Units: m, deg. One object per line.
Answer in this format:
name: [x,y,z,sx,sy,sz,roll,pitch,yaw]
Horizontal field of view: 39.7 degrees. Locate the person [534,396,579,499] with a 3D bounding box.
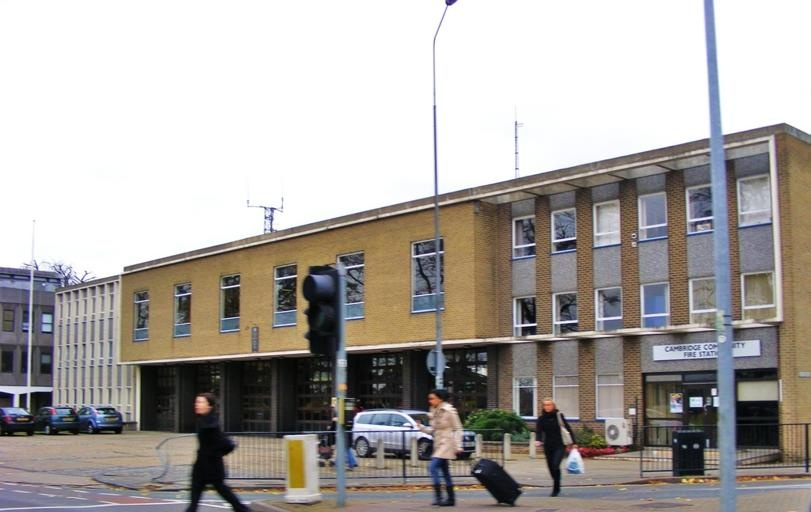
person: [4.741,5.876,35.002,1.262,2.567,1.623,-3,-7,29]

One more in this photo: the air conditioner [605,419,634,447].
air conditioner: [8.960,7.377,47.333,1.085,1.198,0.523,-5,-17,3]

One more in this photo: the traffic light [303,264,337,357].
traffic light: [-2.292,1.472,30.816,1.207,2.196,0.743,0,2,1]

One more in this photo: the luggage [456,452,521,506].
luggage: [2.569,6.379,31.797,1.285,1.323,0.531,-3,-17,-4]

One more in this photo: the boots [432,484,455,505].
boots: [1.083,6.827,31.941,0.759,0.524,0.640,-15,-26,37]

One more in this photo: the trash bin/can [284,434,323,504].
trash bin/can: [-3.079,6.059,32.211,1.194,1.700,1.000,0,2,3]
